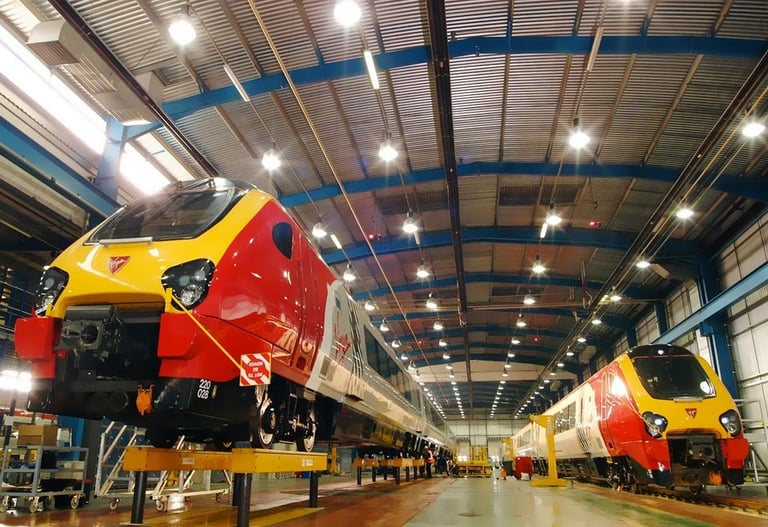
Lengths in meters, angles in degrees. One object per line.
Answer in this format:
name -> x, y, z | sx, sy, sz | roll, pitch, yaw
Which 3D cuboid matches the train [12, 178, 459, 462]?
train -> -2.244, 0.600, 6.177 | 2.358, 3.669, 3.423 | -16, -32, 26
